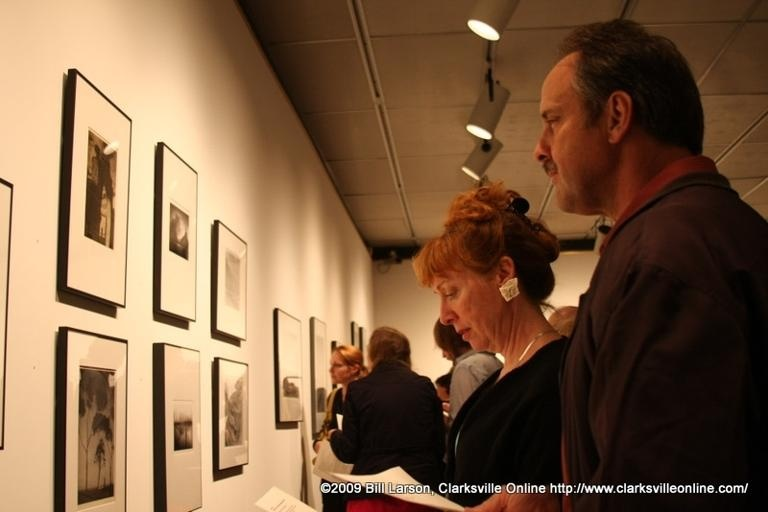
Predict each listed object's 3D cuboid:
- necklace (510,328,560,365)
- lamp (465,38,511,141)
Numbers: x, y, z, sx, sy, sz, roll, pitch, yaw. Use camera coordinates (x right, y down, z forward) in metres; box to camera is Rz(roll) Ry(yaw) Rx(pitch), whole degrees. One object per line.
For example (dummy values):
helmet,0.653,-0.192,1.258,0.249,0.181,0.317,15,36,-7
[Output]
necklace,0.421,0.256,1.851,0.024,0.093,0.089,27,-63,-21
lamp,0.723,-1.206,4.612,0.236,0.857,0.197,20,-25,3
